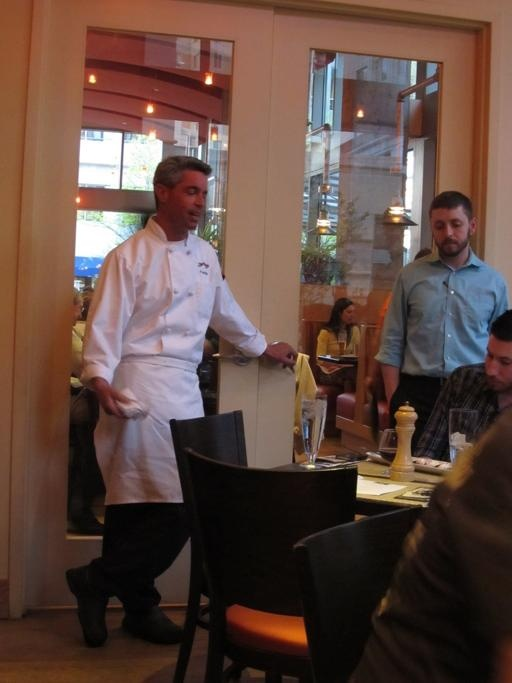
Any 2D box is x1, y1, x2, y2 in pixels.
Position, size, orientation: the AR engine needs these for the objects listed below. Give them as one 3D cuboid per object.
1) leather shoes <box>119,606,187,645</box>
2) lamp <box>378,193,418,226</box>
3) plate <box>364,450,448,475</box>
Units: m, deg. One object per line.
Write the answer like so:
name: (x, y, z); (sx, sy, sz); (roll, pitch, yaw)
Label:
leather shoes: (-0.347, 0.975, 2.315); (0.284, 0.107, 0.125); (-2, -3, 31)
lamp: (0.586, -0.534, 2.732); (0.127, 0.118, 0.121); (0, -5, 0)
plate: (0.430, 0.333, 1.777); (0.156, 0.015, 0.093); (0, 3, -36)
